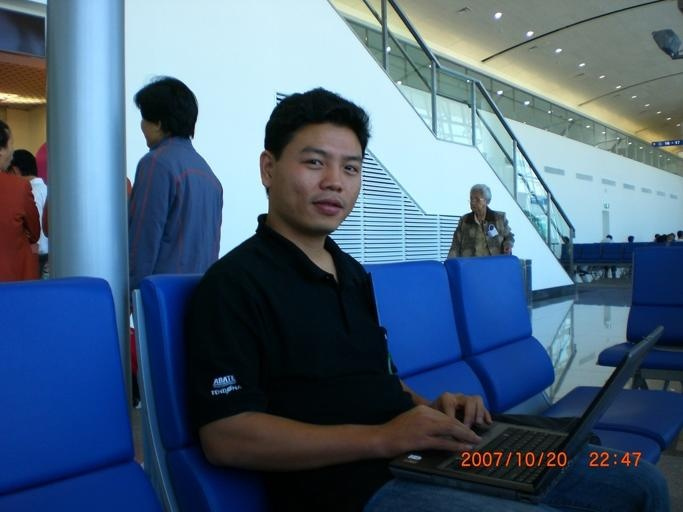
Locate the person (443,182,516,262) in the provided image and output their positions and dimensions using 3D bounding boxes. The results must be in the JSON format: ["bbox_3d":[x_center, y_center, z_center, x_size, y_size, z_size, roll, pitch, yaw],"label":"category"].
[{"bbox_3d":[1.252,-0.084,4.860,0.587,1.138,0.369,3,19,27],"label":"person"}]

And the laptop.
[{"bbox_3d":[0.485,0.317,1.373,0.430,0.326,0.474,2,-2,33],"label":"laptop"}]
